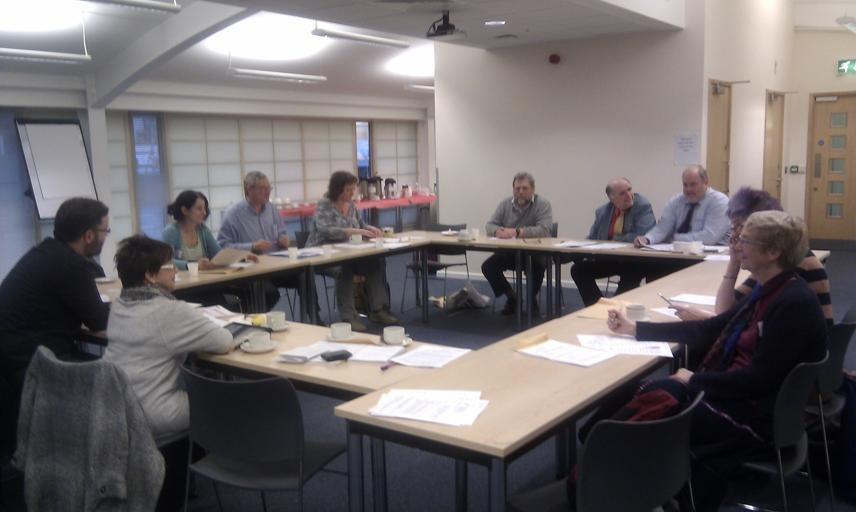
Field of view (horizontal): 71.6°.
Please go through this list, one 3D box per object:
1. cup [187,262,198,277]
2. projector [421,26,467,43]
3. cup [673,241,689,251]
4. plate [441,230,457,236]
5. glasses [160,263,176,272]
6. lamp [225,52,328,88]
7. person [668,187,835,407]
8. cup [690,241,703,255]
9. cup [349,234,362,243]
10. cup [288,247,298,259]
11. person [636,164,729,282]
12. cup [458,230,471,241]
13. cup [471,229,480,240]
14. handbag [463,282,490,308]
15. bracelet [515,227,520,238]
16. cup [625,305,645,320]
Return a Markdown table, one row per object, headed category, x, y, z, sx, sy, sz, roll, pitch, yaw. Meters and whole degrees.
| category | x | y | z | sx | sy | sz | roll | pitch | yaw |
| --- | --- | --- | --- | --- | --- | --- | --- | --- | --- |
| cup | -2.055 | 0.114 | 5.223 | 0.118 | 0.139 | 0.116 | 0 | 6 | 0 |
| projector | 0.151 | -2.282 | 6.121 | 0.365 | 0.083 | 0.331 | -4 | 7 | -34 |
| cup | 2.406 | -0.094 | 5.651 | 0.095 | 0.067 | 0.094 | 1 | 3 | 0 |
| plate | 0.263 | -0.281 | 7.238 | 0.099 | 0.048 | 0.098 | 4 | 7 | 29 |
| glasses | -1.623 | 0.080 | 3.671 | 0.068 | 0.045 | 0.050 | 5 | 9 | 29 |
| lamp | -2.570 | -2.976 | 9.659 | 1.290 | 0.358 | 1.987 | 3 | 11 | 38 |
| person | 2.561 | 0.027 | 4.639 | 1.187 | 1.883 | 0.810 | 5 | -2 | 17 |
| cup | 2.575 | -0.082 | 5.655 | 0.123 | 0.120 | 0.125 | 1 | -2 | 0 |
| cup | -0.795 | -0.193 | 6.426 | 0.110 | 0.087 | 0.103 | -2 | 6 | 0 |
| cup | -1.355 | -0.026 | 5.871 | 0.113 | 0.121 | 0.111 | 0 | 3 | 0 |
| person | 2.615 | -0.325 | 6.110 | 1.060 | 1.091 | 0.715 | -2 | 8 | -24 |
| cup | 0.410 | -0.236 | 6.744 | 0.128 | 0.107 | 0.127 | -1 | 5 | 0 |
| cup | 0.545 | -0.248 | 6.828 | 0.127 | 0.140 | 0.125 | 3 | 5 | 0 |
| handbag | 0.668 | 0.492 | 7.268 | 0.240 | 0.347 | 0.355 | -7 | -8 | 35 |
| bracelet | 1.036 | -0.263 | 6.804 | 0.068 | 0.089 | 0.103 | 4 | 4 | 10 |
| cup | 1.354 | 0.365 | 3.849 | 0.087 | 0.073 | 0.105 | -1 | -5 | 10 |
